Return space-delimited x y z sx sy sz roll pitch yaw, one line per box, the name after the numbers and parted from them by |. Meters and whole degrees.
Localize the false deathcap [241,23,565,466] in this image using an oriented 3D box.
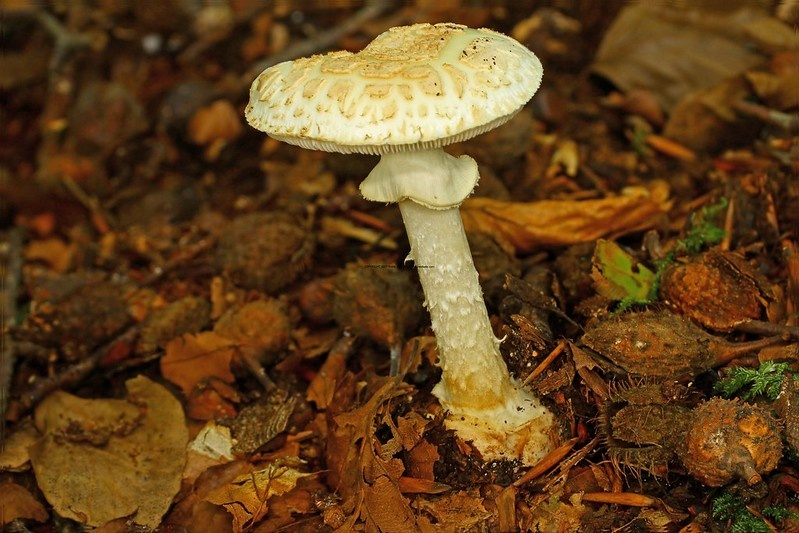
0.216 -0.002 6.524 2.231 3.124 2.248 -2 17 26 | false deathcap
